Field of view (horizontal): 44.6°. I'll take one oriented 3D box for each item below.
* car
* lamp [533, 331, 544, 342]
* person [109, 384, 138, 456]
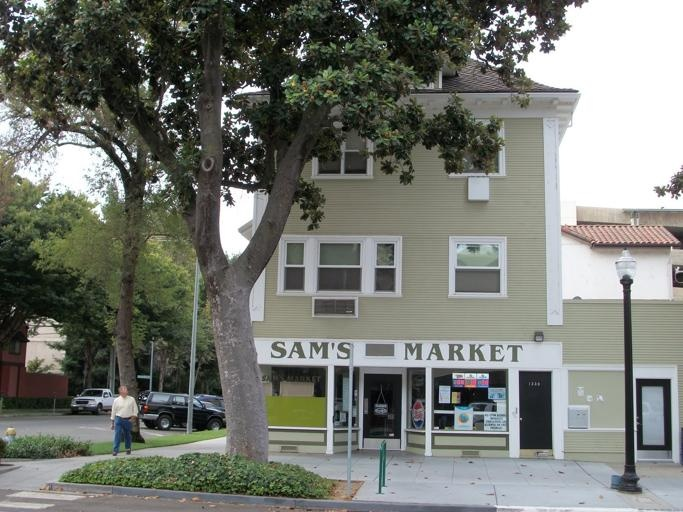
[{"bbox_3d":[-8.144,7.975,42.481,4.460,1.852,2.102,1,-5,-23],"label":"car"},{"bbox_3d":[6.523,2.702,27.864,0.391,0.399,0.283,0,-9,3],"label":"lamp"},{"bbox_3d":[-6.826,5.115,26.120,0.743,2.136,1.170,4,-13,-13],"label":"person"}]
